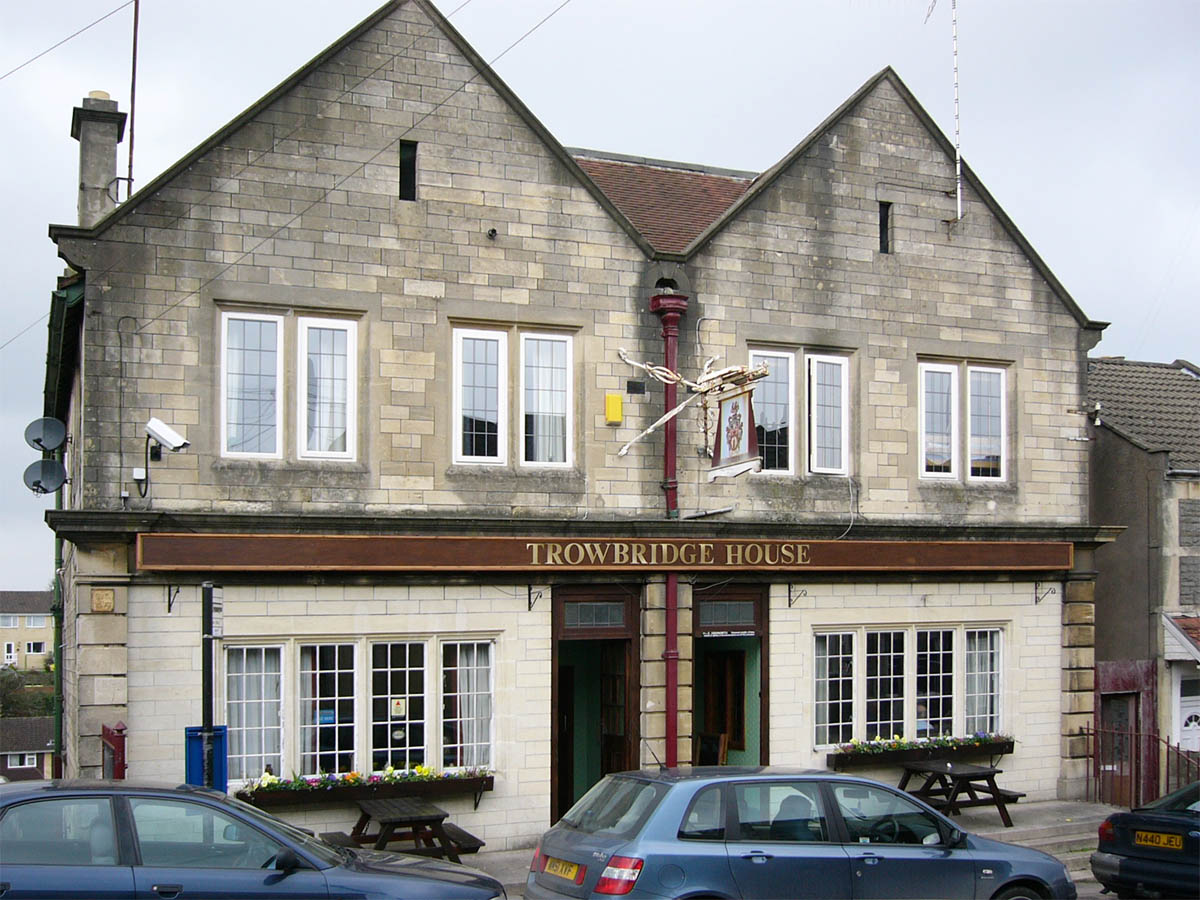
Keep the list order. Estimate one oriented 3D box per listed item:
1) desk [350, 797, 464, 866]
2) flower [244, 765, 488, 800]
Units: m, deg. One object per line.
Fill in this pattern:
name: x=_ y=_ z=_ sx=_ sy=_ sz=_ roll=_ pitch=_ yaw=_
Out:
desk: x=-2.674 y=5.551 z=41.311 sx=1.647 sy=0.899 sz=1.504 roll=1 pitch=-4 yaw=-24
flower: x=-3.446 y=4.957 z=42.340 sx=3.587 sy=0.408 sz=1.910 roll=5 pitch=-9 yaw=-28
